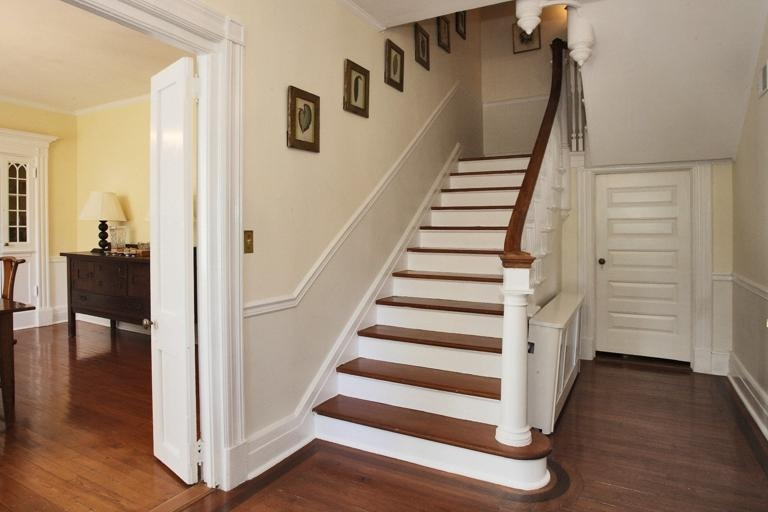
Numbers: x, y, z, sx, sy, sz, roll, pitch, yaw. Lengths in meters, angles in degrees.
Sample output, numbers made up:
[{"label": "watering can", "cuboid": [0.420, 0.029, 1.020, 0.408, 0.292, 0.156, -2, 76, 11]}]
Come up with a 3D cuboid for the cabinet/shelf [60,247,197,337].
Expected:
[{"label": "cabinet/shelf", "cuboid": [-3.495, 0.543, 6.881, 1.823, 1.136, 0.277, 3, 7, 31]}]
